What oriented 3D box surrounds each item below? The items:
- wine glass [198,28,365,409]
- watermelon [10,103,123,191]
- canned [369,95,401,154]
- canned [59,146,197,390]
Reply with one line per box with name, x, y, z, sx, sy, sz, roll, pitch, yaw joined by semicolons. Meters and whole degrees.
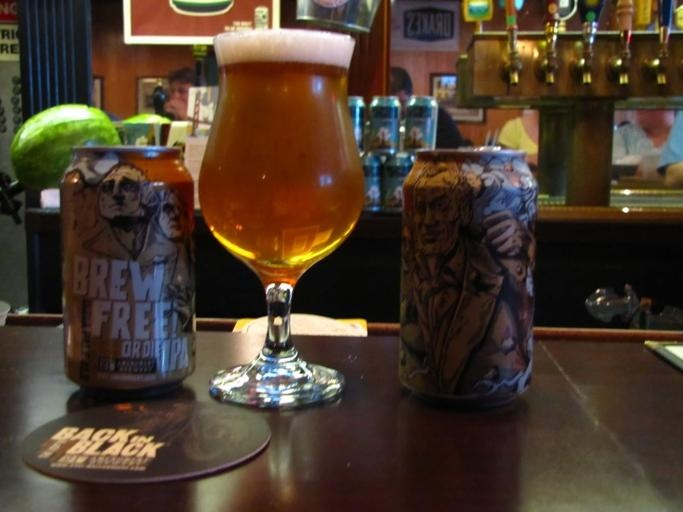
wine glass;-0.056;-0.035;0.670;0.149;0.338;0.152;0;3;-4
watermelon;-0.290;-0.110;0.747;0.097;0.100;0.137;0;5;-18
canned;0.112;-0.328;1.671;0.080;0.140;0.067;-1;10;-7
canned;-0.188;0.014;0.609;0.100;0.217;0.081;13;13;39
